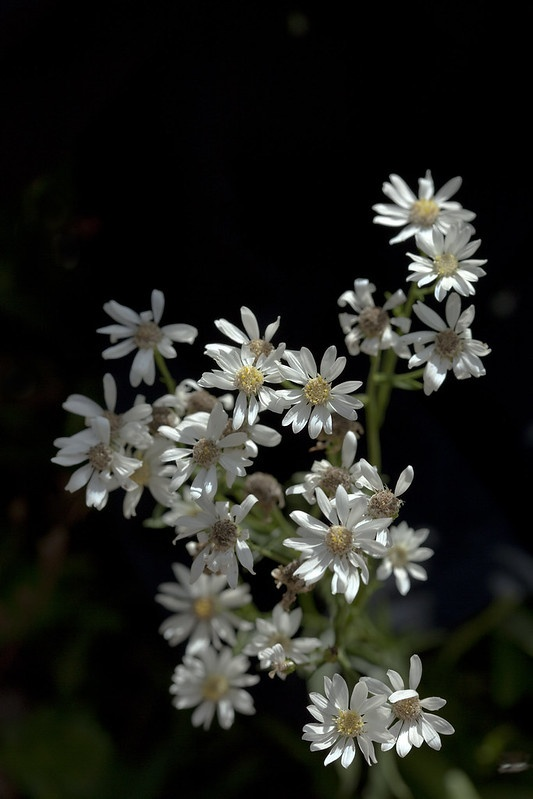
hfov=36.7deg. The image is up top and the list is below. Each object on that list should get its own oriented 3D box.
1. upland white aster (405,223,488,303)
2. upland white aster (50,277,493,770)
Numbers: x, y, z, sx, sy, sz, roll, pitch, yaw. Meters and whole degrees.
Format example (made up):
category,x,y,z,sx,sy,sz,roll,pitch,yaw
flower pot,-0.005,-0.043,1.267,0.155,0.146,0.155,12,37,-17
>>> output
category,x,y,z,sx,sy,sz,roll,pitch,yaw
upland white aster,0.191,-0.145,0.851,0.076,0.084,0.103,-14,-2,19
upland white aster,0.004,0.094,0.986,0.500,0.670,0.246,-5,-3,-12
